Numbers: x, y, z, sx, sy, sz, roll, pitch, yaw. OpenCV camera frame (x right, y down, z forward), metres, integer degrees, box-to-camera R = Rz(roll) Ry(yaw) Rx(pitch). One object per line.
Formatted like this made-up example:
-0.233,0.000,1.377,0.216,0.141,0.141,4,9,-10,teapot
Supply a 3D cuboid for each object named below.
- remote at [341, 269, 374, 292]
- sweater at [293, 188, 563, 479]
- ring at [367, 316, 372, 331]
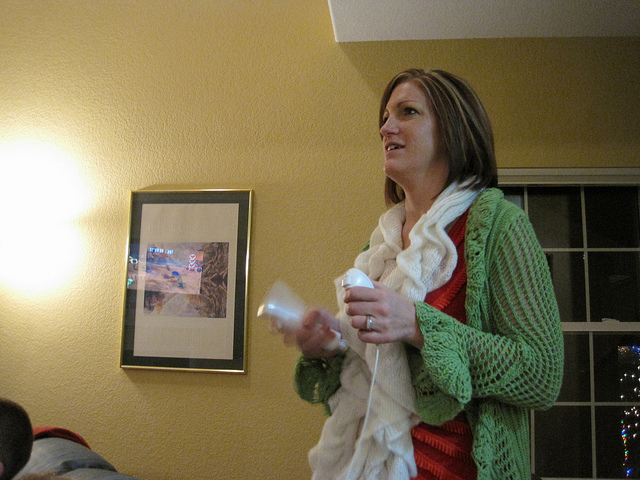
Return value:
0.112,0.116,1.617,0.091,0.062,0.124,0,1,2,remote
0.479,0.270,1.620,0.423,0.859,0.214,-1,2,-10,sweater
0.140,0.237,1.537,0.012,0.041,0.007,0,2,4,ring
